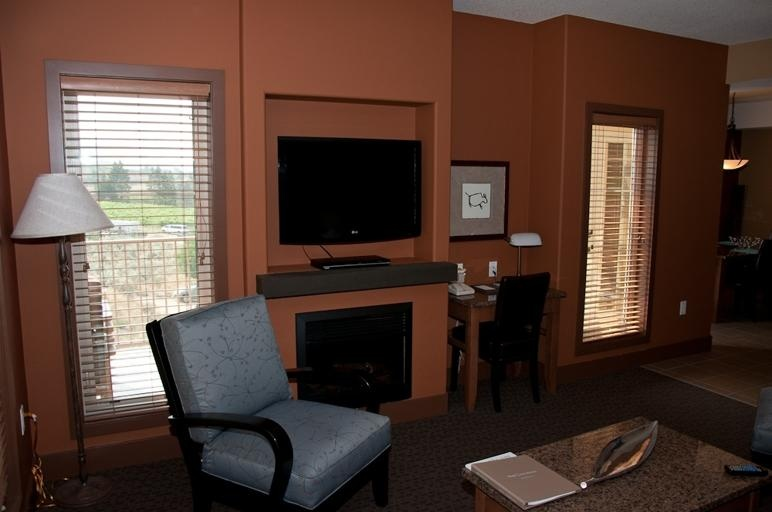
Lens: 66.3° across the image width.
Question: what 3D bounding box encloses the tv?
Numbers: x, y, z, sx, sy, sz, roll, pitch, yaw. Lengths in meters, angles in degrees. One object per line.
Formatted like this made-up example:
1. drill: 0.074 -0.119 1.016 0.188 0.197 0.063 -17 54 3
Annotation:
1. tv: -0.344 -0.555 4.843 0.965 0.648 0.095 -2 5 -22

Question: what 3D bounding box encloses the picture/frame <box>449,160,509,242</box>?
1. picture/frame: 0.852 -0.545 5.589 0.828 0.762 0.051 -1 3 -30

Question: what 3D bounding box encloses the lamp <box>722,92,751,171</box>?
1. lamp: 5.215 -1.785 8.815 0.322 1.062 0.960 1 9 32

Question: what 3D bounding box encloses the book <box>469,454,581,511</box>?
1. book: 0.825 1.330 3.467 0.314 0.051 0.319 -6 11 -31

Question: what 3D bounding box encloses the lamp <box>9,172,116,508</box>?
1. lamp: -2.153 0.571 4.134 0.585 2.281 0.528 -8 9 -30
